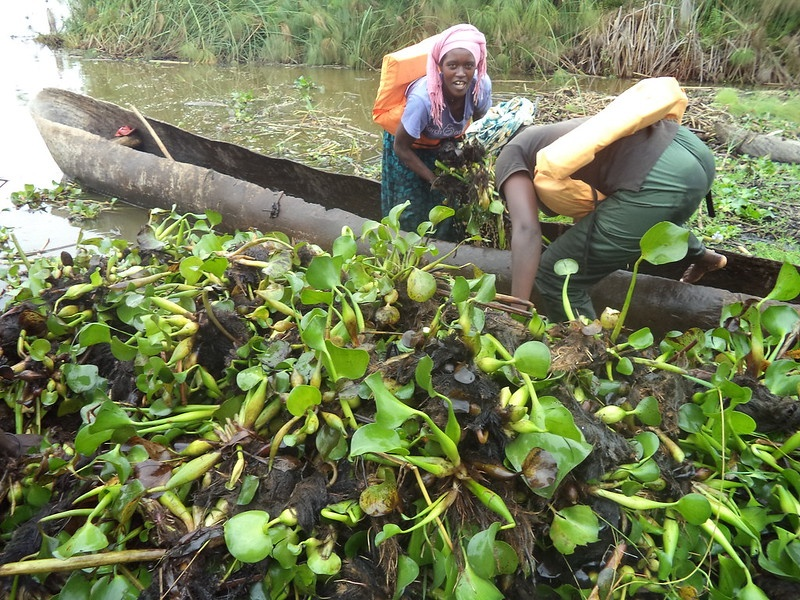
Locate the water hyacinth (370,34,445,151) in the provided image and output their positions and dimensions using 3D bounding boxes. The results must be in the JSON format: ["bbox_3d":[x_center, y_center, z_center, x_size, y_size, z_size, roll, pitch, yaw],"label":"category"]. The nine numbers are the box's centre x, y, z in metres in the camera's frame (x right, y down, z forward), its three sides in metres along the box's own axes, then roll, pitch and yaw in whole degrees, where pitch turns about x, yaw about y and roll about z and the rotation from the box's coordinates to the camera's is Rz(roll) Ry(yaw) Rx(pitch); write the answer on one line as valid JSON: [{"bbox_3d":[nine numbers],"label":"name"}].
[{"bbox_3d":[0.006,-1.314,4.034,0.377,0.714,0.433,-19,30,-41],"label":"water hyacinth"}]

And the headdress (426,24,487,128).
[{"bbox_3d":[0.333,-1.225,3.533,0.377,0.479,0.287,-6,2,0],"label":"headdress"}]

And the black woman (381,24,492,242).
[{"bbox_3d":[0.161,-1.061,3.775,0.703,1.412,0.663,-5,18,-16],"label":"black woman"}]
